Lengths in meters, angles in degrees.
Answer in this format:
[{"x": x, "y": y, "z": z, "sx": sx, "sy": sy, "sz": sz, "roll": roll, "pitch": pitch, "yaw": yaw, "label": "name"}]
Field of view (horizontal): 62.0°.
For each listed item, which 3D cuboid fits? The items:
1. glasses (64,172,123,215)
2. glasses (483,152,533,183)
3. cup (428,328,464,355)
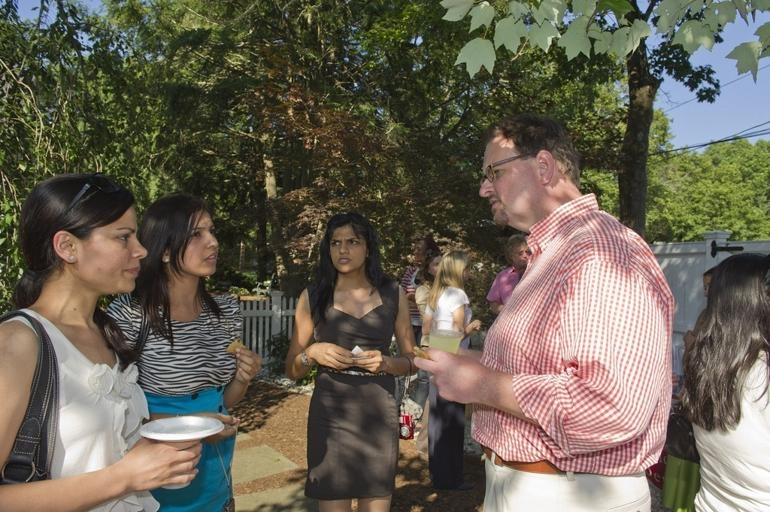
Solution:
[{"x": -1.620, "y": -0.303, "z": 3.598, "sx": 0.237, "sy": 0.069, "sz": 0.232, "roll": -35, "pitch": 16, "yaw": 13, "label": "glasses"}, {"x": 0.673, "y": -0.519, "z": 3.657, "sx": 0.178, "sy": 0.050, "sz": 0.174, "roll": -17, "pitch": -17, "yaw": -10, "label": "glasses"}, {"x": 0.345, "y": 0.496, "z": 3.605, "sx": 0.135, "sy": 0.139, "sz": 0.149, "roll": 3, "pitch": -7, "yaw": 0, "label": "cup"}]
